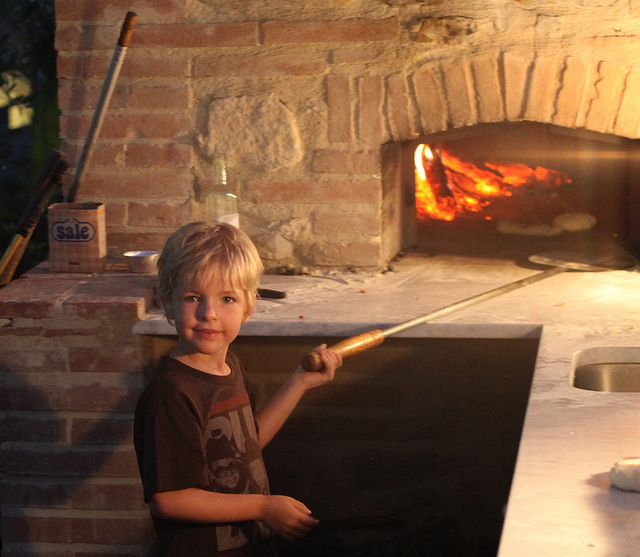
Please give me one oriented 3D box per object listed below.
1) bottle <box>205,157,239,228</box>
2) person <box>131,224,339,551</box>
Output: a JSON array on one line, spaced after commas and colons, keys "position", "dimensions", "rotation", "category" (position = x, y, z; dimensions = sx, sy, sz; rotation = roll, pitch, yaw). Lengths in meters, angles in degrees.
[{"position": [-0.340, -0.313, 2.480], "dimensions": [0.121, 0.218, 0.086], "rotation": [2, 6, -6], "category": "bottle"}, {"position": [-0.124, 0.233, 1.376], "dimensions": [0.308, 0.669, 0.482], "rotation": [5, 6, 24], "category": "person"}]
